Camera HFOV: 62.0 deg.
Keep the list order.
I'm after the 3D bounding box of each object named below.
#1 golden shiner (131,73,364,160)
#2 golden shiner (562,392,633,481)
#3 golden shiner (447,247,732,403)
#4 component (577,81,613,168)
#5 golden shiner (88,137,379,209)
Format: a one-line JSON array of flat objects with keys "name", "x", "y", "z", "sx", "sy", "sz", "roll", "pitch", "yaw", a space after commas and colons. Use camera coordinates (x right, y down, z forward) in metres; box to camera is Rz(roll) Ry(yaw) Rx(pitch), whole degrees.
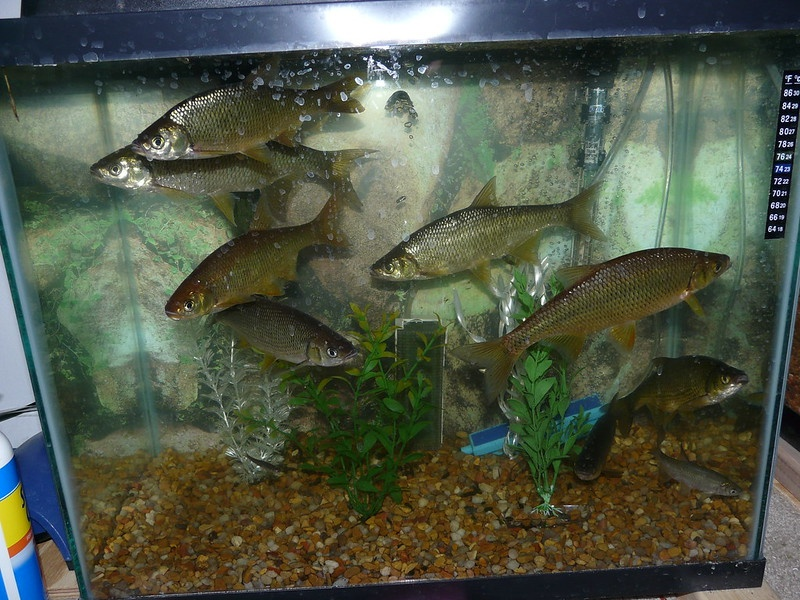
[{"name": "golden shiner", "x": -0.474, "y": -0.569, "z": 2.115, "sx": 0.703, "sy": 0.268, "sz": 0.127, "roll": -15, "pitch": 33, "yaw": -9}, {"name": "golden shiner", "x": 0.725, "y": 0.521, "z": 2.477, "sx": 0.144, "sy": 0.130, "sz": 0.337, "roll": 14, "pitch": 55, "yaw": 22}, {"name": "golden shiner", "x": 0.653, "y": 0.095, "z": 2.262, "sx": 0.914, "sy": 0.548, "sz": 0.129, "roll": 1, "pitch": 13, "yaw": 5}, {"name": "component", "x": 0.639, "y": -0.580, "z": 2.194, "sx": 0.080, "sy": 0.271, "sz": 0.095, "roll": 1, "pitch": 16, "yaw": 5}, {"name": "golden shiner", "x": -0.554, "y": -0.408, "z": 2.179, "sx": 0.835, "sy": 0.303, "sz": 0.181, "roll": -4, "pitch": -14, "yaw": -14}]
